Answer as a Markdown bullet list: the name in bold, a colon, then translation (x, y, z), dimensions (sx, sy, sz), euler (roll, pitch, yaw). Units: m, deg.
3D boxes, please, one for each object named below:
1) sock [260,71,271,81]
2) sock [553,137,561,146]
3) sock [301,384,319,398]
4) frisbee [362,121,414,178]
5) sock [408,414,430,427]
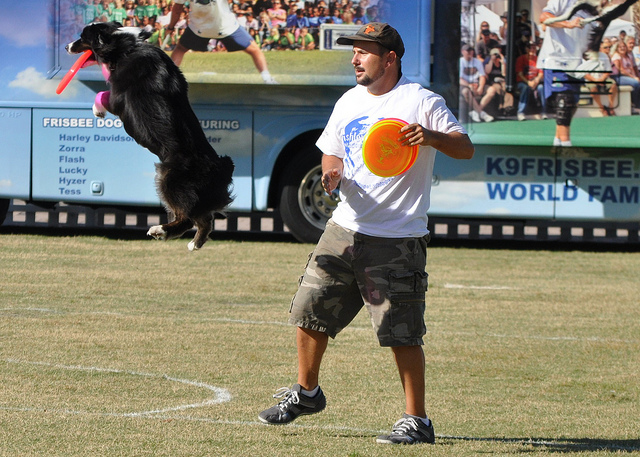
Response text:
- **sock**: translation (-0.679, -1.914, 17.972), dimensions (0.089, 0.095, 0.092), euler (-4, 8, 19)
- **sock**: translation (2.913, -1.086, 17.919), dimensions (0.099, 0.095, 0.093), euler (7, 12, 35)
- **sock**: translation (-0.094, 1.524, 13.570), dimensions (0.181, 0.092, 0.047), euler (-3, 8, -28)
- **frisbee**: translation (0.620, -0.755, 13.389), dimensions (0.629, 0.601, 0.143), euler (16, 36, 39)
- **sock**: translation (0.931, 1.762, 13.399), dimensions (0.214, 0.114, 0.114), euler (-4, 8, -33)
